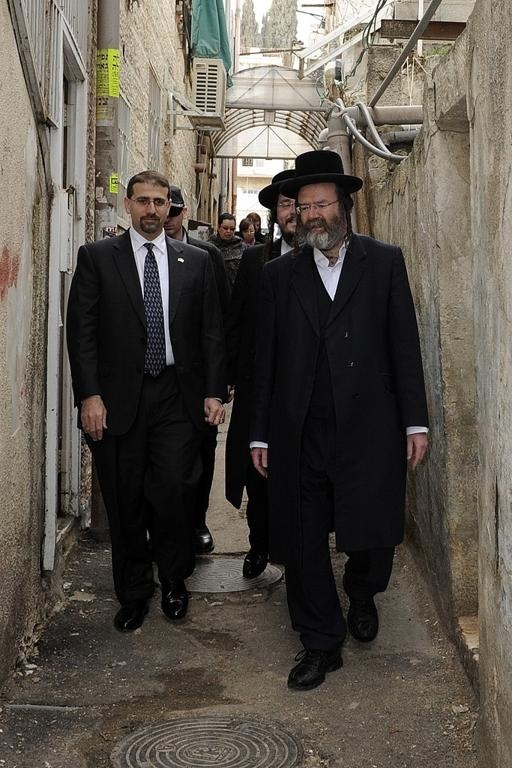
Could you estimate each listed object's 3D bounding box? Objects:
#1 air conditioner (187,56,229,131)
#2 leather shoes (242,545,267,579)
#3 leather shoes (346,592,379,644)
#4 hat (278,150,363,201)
[{"bbox_3d":[-0.846,-5.048,13.068,0.517,1.063,1.016,1,-4,3],"label":"air conditioner"},{"bbox_3d":[-0.001,1.017,4.183,0.077,0.105,0.226,-5,11,21],"label":"leather shoes"},{"bbox_3d":[0.448,1.001,3.101,0.080,0.186,0.241,-3,1,-2],"label":"leather shoes"},{"bbox_3d":[0.254,-0.857,2.953,0.329,0.141,0.307,1,9,35],"label":"hat"}]
